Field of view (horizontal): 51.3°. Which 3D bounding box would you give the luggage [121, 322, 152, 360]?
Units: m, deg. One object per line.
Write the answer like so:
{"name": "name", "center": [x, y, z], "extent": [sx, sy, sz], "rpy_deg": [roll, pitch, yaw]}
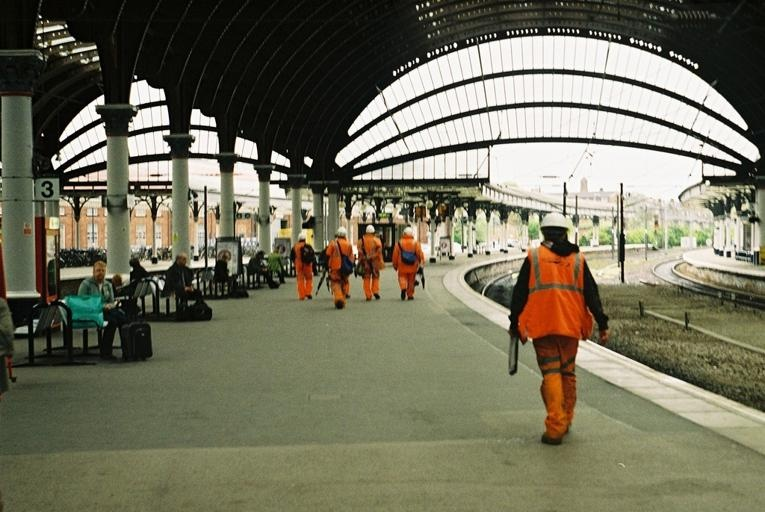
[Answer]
{"name": "luggage", "center": [-5.045, 1.805, 16.571], "extent": [0.485, 0.825, 0.445], "rpy_deg": [-5, -18, -25]}

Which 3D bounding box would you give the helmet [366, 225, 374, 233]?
{"name": "helmet", "center": [-0.415, -0.937, 27.390], "extent": [0.264, 0.273, 0.226], "rpy_deg": [-1, 6, -12]}

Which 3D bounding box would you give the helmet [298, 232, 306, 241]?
{"name": "helmet", "center": [-2.825, -0.658, 27.832], "extent": [0.207, 0.332, 0.298], "rpy_deg": [1, 11, 4]}

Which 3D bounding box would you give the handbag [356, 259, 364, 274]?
{"name": "handbag", "center": [-0.774, 0.426, 27.661], "extent": [0.254, 0.389, 0.581], "rpy_deg": [7, 5, -2]}

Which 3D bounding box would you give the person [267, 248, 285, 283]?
{"name": "person", "center": [-4.884, 0.495, 36.795], "extent": [0.968, 1.561, 0.863], "rpy_deg": [7, 26, 17]}

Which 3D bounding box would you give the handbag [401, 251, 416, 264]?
{"name": "handbag", "center": [0.903, 0.066, 27.722], "extent": [0.393, 0.209, 0.411], "rpy_deg": [-4, -6, 41]}

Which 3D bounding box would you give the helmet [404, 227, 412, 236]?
{"name": "helmet", "center": [0.907, -0.850, 28.043], "extent": [0.189, 0.261, 0.286], "rpy_deg": [2, 9, -1]}

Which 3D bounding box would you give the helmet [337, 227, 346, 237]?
{"name": "helmet", "center": [-1.319, -0.780, 25.886], "extent": [0.227, 0.312, 0.305], "rpy_deg": [0, -3, -7]}

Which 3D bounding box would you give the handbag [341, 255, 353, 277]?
{"name": "handbag", "center": [-1.123, 0.342, 25.716], "extent": [0.292, 0.460, 0.553], "rpy_deg": [9, 5, 16]}

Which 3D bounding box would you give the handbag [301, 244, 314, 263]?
{"name": "handbag", "center": [-2.618, -0.066, 27.669], "extent": [0.490, 0.863, 0.378], "rpy_deg": [0, -4, -25]}

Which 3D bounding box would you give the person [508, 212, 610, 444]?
{"name": "person", "center": [2.513, 1.040, 11.747], "extent": [1.306, 2.946, 0.738], "rpy_deg": [8, 4, 18]}
